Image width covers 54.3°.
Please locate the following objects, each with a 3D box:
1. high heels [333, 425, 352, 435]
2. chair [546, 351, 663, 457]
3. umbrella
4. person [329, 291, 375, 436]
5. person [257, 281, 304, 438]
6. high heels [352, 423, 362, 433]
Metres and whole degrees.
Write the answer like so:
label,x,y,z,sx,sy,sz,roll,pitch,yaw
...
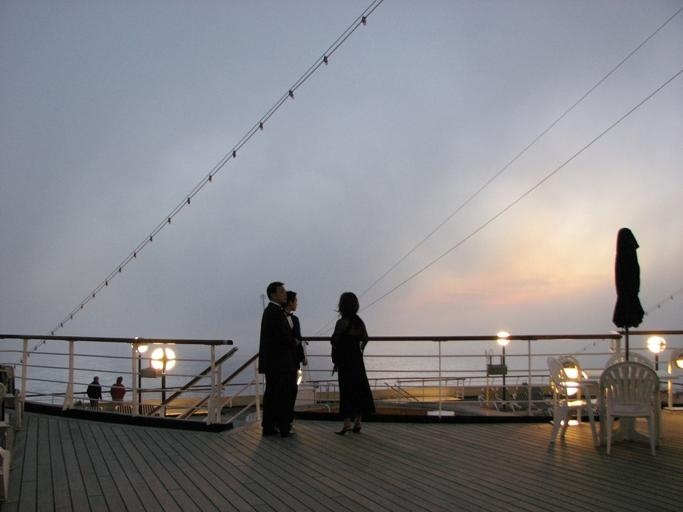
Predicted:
label,x,y,z,sx,sy,sz,roll,pitch,yaw
high heels,0.054,3.786,14.366,0.464,0.237,0.161,-9,1,39
chair,5.649,3.108,14.194,2.147,1.943,1.600,-4,-9,25
umbrella,6.103,0.468,14.217,0.610,2.091,0.418,-3,-8,19
person,0.200,2.322,14.388,0.909,3.040,0.631,2,-8,-16
person,-1.360,2.219,14.307,0.879,3.284,0.601,0,-8,-6
high heels,0.329,3.749,14.462,0.124,0.106,0.251,1,-50,1
